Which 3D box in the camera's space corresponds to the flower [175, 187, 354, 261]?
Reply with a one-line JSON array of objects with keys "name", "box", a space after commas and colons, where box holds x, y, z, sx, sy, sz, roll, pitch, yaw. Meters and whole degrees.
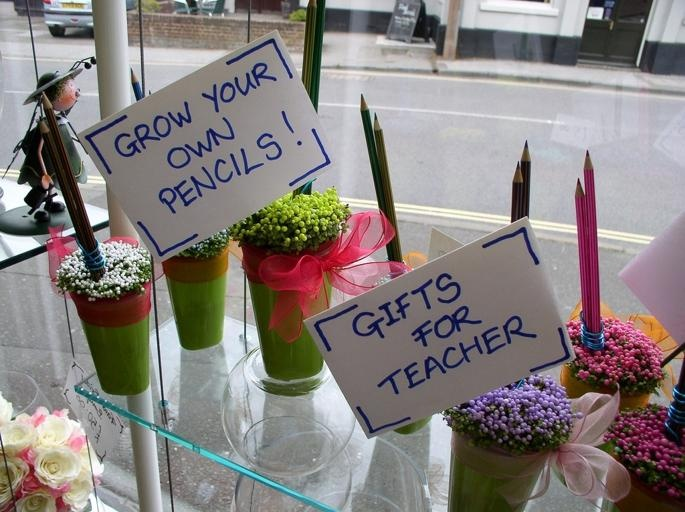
[{"name": "flower", "box": [-0.075, -0.035, 0.742, 0.111, 0.043, 0.103, -31, 5, 18]}]
